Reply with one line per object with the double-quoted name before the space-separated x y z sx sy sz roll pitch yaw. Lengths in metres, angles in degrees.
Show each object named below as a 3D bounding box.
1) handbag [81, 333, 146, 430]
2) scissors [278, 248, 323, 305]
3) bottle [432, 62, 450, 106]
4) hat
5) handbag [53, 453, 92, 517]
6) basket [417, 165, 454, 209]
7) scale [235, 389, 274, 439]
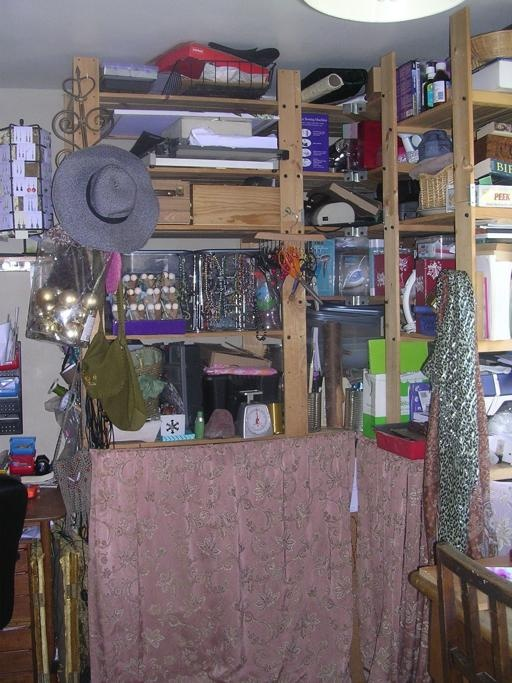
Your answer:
"handbag" -0.495 0.142 2.183 0.261 0.315 0.145 22 23 38
"scissors" 0.149 -0.283 2.513 0.146 0.217 0.077 -11 33 -8
"bottle" 0.686 -0.959 2.390 0.058 0.197 0.200 -1 3 17
"hat" -0.477 -0.423 2.047 0.336 0.351 0.103 -20 15 -29
"handbag" -0.661 0.533 2.325 0.120 0.279 0.164 -3 3 -18
"basket" 0.604 -0.510 2.173 0.088 0.123 0.124 0 1 -7
"scale" -0.013 0.287 2.542 0.139 0.177 0.100 0 -5 -34
